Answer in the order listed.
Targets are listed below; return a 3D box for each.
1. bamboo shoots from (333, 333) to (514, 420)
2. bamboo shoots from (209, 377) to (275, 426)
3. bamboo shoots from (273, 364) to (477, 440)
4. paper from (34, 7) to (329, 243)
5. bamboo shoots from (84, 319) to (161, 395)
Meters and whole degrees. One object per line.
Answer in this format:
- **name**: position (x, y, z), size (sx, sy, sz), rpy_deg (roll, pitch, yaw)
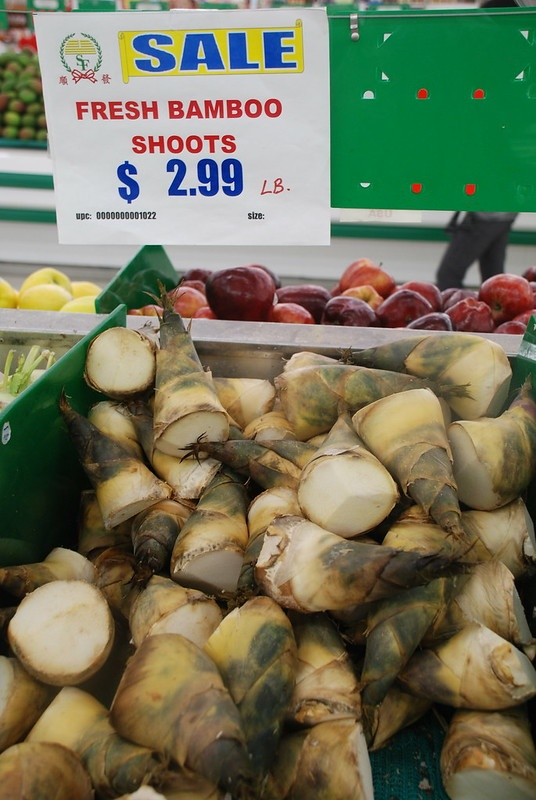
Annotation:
- **bamboo shoots**: position (0.238, -0.050, 0.974), size (0.189, 0.081, 0.110), rpy_deg (7, 50, 29)
- **bamboo shoots**: position (-0.040, -0.007, 1.065), size (0.091, 0.039, 0.066), rpy_deg (39, 55, 18)
- **bamboo shoots**: position (0.132, -0.017, 0.952), size (0.192, 0.077, 0.111), rpy_deg (-8, 8, 0)
- **paper**: position (-0.119, -0.430, 1.023), size (0.483, 0.378, 0.052), rpy_deg (-2, 46, -1)
- **bamboo shoots**: position (-0.210, -0.055, 1.051), size (0.101, 0.101, 0.096), rpy_deg (-28, -1, 4)
